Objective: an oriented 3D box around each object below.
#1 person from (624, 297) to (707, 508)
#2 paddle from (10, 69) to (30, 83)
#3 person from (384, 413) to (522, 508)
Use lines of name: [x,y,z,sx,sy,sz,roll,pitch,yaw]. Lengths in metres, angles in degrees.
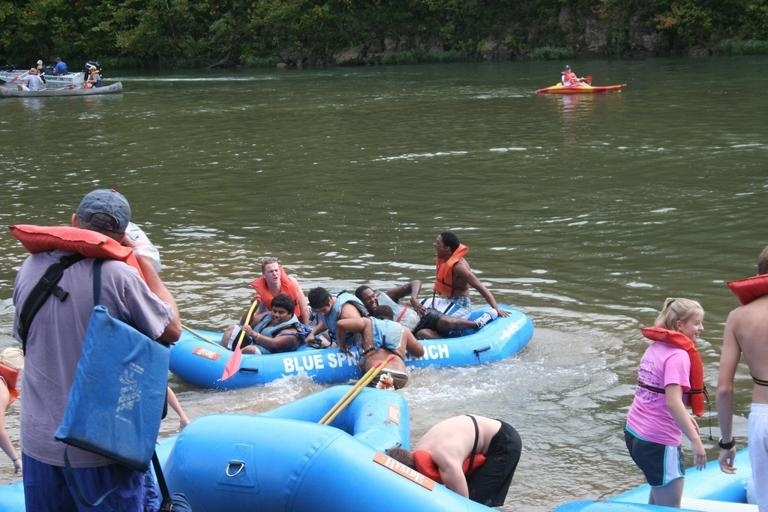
person: [4.993,2.609,21.830,1.358,3.588,1.015,-6,12,-17]
paddle: [-16.586,-8.176,56.848,0.980,0.263,1.575,1,27,0]
person: [1.279,3.592,22.226,2.178,1.117,1.550,-1,12,-17]
